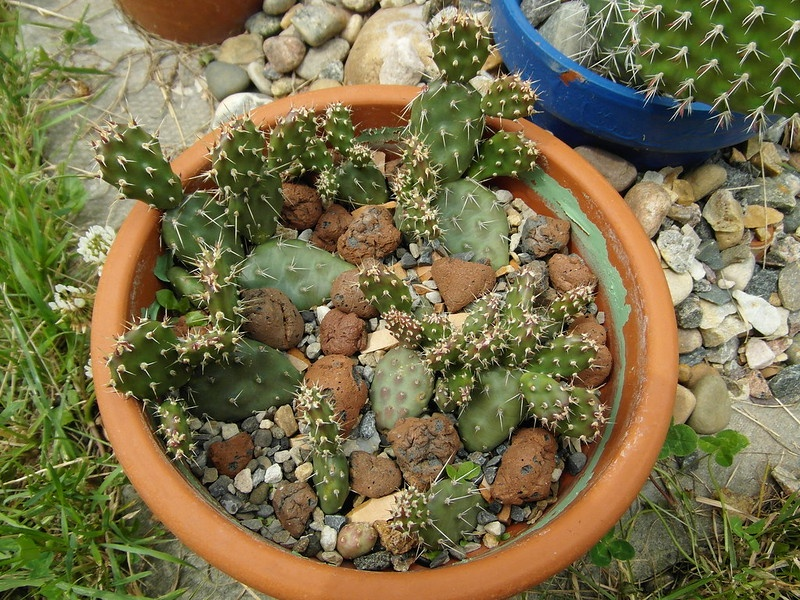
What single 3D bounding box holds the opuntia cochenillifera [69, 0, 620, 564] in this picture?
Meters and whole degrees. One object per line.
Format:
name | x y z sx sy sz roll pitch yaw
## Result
opuntia cochenillifera | -0.267 0.178 2.559 1.618 0.773 1.504 27 66 10
